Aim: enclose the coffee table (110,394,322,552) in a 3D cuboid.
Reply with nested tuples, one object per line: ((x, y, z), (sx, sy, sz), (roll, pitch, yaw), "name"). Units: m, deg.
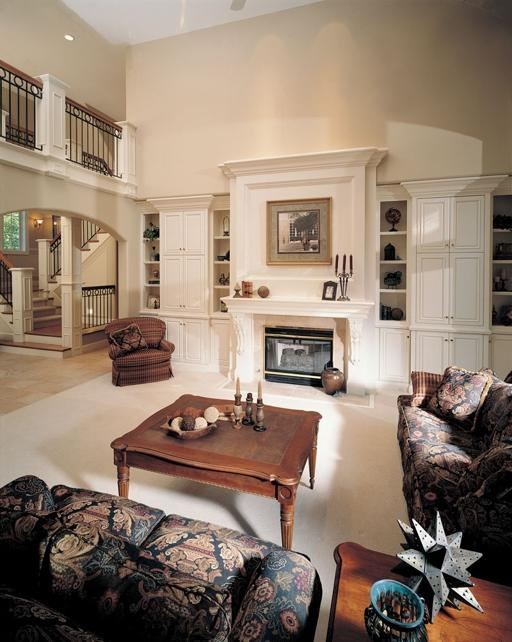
((-0.071, 0.634, 2.767), (0.920, 0.444, 0.752), (7, 17, 24), "coffee table")

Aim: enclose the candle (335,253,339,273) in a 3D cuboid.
((0.898, -0.621, 5.334), (0.047, 0.240, 0.095), (0, 3, 6), "candle")

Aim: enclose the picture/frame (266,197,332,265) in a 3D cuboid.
((0.524, -1.056, 5.501), (0.806, 0.752, 0.061), (1, 4, 22), "picture/frame")

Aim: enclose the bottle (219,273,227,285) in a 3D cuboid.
((-0.448, -0.571, 6.555), (0.107, 0.146, 0.034), (-4, -3, 22), "bottle")

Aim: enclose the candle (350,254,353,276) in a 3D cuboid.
((1.040, -0.608, 5.239), (0.036, 0.241, 0.085), (0, 3, 8), "candle")

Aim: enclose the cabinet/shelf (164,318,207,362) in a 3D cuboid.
((-0.927, 0.250, 6.387), (0.580, 0.558, 0.246), (1, 2, 21), "cabinet/shelf")

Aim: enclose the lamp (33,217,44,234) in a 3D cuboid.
((-4.788, -2.099, 10.476), (0.118, 0.376, 0.390), (1, 3, 10), "lamp")

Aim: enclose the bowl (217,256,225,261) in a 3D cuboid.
((-0.479, -0.833, 6.398), (0.114, 0.065, 0.079), (0, 3, 9), "bowl")

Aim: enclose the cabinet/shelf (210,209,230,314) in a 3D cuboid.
((-0.484, -0.808, 6.460), (0.229, 1.365, 0.457), (0, 3, -6), "cabinet/shelf")

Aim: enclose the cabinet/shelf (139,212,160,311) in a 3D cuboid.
((-1.560, -0.874, 7.046), (0.250, 1.397, 0.371), (-1, 3, -14), "cabinet/shelf")

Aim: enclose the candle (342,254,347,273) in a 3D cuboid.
((0.974, -0.619, 5.253), (0.042, 0.227, 0.162), (1, 3, 11), "candle")

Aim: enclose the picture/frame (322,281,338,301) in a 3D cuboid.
((0.825, -0.328, 5.303), (0.215, 0.289, 0.019), (3, -10, 29), "picture/frame")
